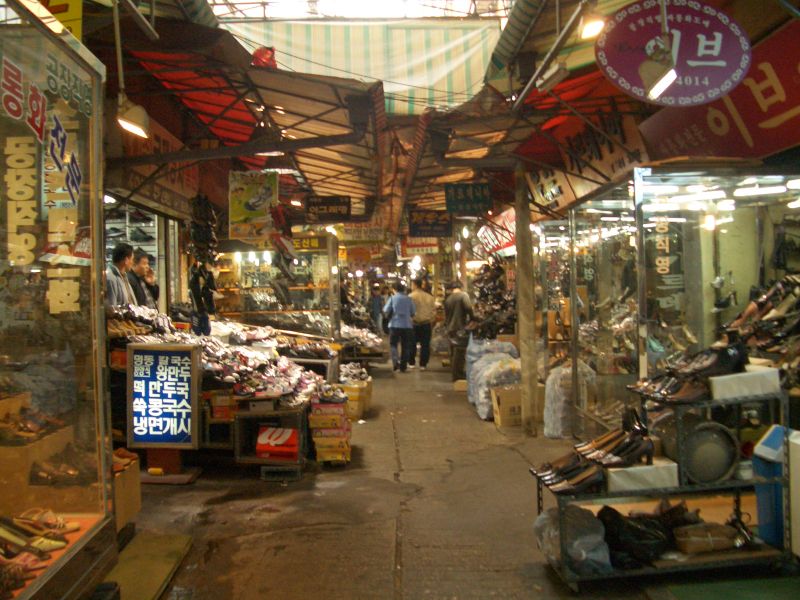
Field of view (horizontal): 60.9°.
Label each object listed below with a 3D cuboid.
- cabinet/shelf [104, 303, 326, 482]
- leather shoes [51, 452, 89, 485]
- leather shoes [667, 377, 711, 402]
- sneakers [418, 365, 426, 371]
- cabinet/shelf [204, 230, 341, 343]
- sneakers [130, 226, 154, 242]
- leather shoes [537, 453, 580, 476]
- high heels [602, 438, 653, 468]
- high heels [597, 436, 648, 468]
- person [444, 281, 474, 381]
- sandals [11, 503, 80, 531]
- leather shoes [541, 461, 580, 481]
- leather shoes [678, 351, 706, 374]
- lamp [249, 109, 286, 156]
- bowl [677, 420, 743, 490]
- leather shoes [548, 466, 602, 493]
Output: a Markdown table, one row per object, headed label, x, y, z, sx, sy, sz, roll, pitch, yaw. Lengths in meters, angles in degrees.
| label | x | y | z | sx | sy | sz | roll | pitch | yaw |
| --- | --- | --- | --- | --- | --- | --- | --- | --- | --- |
| cabinet/shelf | -1.893 | 0.930 | 7.092 | 1.804 | 1.100 | 1.782 | -1 | -2 | 0 |
| leather shoes | -1.949 | 0.984 | 3.998 | 0.156 | 0.080 | 0.198 | 11 | 25 | -14 |
| leather shoes | 2.082 | 0.629 | 4.918 | 0.252 | 0.103 | 0.151 | -10 | 0 | -18 |
| sneakers | 0.472 | 1.501 | 15.201 | 0.100 | 0.118 | 0.287 | 0 | -8 | -1 |
| cabinet/shelf | -2.087 | -0.194 | 10.667 | 1.868 | 1.663 | 0.694 | 1 | 4 | 0 |
| sneakers | -3.908 | -0.972 | 10.233 | 0.136 | 0.244 | 0.388 | 3 | 9 | 24 |
| leather shoes | 1.194 | 1.235 | 5.119 | 0.198 | 0.086 | 0.210 | -27 | -2 | -9 |
| high heels | 1.636 | 1.091 | 4.920 | 0.338 | 0.140 | 0.180 | -7 | 11 | 1 |
| high heels | 1.613 | 1.089 | 4.906 | 0.330 | 0.128 | 0.176 | -7 | 18 | 4 |
| person | 1.146 | 0.621 | 13.409 | 0.664 | 1.526 | 2.014 | -1 | 3 | -2 |
| sandals | -2.007 | 1.221 | 3.856 | 0.280 | 0.083 | 0.101 | 23 | 27 | -36 |
| leather shoes | 1.182 | 1.260 | 5.029 | 0.235 | 0.092 | 0.134 | -31 | 13 | 3 |
| leather shoes | 2.262 | 0.483 | 5.283 | 0.228 | 0.090 | 0.072 | -39 | 30 | -27 |
| lamp | -1.695 | -2.087 | 8.571 | 0.372 | 0.642 | 2.550 | -2 | 8 | -11 |
| bowl | 2.243 | 1.118 | 4.922 | 0.417 | 0.438 | 0.147 | -5 | 6 | -10 |
| leather shoes | 1.261 | 1.276 | 4.838 | 0.285 | 0.098 | 0.200 | -9 | 6 | -12 |
